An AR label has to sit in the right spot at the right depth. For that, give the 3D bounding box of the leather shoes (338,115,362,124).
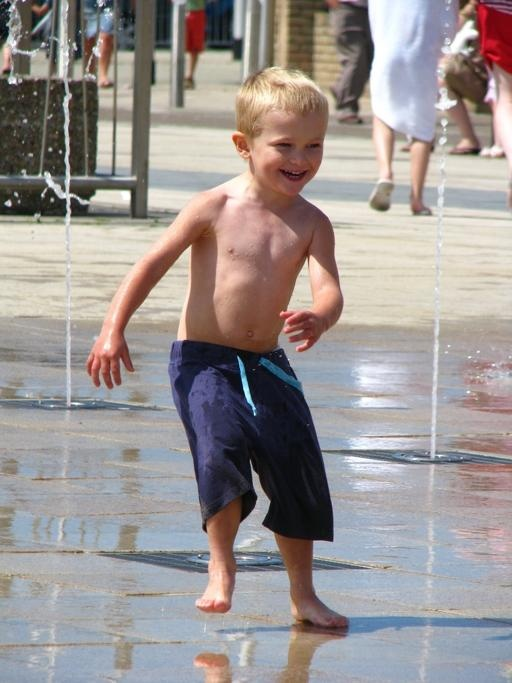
[{"bbox_3d":[1.145,-2.753,19.286,0.336,0.149,0.121,-1,3,12],"label":"leather shoes"}]

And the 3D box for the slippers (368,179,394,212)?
[{"bbox_3d":[0.759,-0.894,9.549,0.089,0.251,0.100,8,54,2],"label":"slippers"}]

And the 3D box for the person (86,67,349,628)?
[{"bbox_3d":[-0.072,-0.007,2.944,0.478,0.984,0.632,2,14,-6],"label":"person"}]

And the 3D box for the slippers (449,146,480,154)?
[{"bbox_3d":[1.989,-1.871,15.180,0.256,0.104,0.134,3,5,23],"label":"slippers"}]

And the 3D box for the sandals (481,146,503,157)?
[{"bbox_3d":[2.228,-1.827,14.947,0.127,0.078,0.178,0,1,7],"label":"sandals"}]
